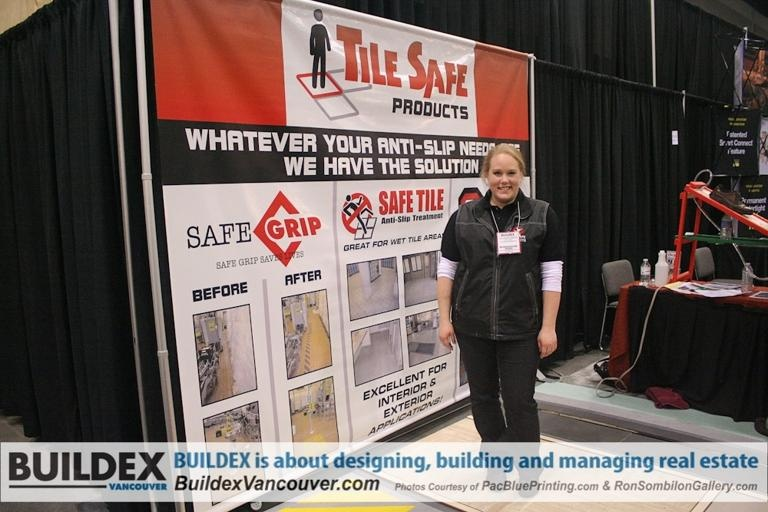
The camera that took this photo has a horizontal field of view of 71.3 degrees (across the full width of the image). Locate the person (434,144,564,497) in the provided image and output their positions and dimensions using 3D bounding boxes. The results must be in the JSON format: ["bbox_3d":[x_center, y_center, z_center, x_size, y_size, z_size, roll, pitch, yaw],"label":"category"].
[{"bbox_3d":[0.664,0.379,3.141,0.704,2.008,0.408,2,15,20],"label":"person"}]

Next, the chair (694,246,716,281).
[{"bbox_3d":[3.395,0.088,5.668,0.141,0.305,0.463,8,18,37],"label":"chair"}]
